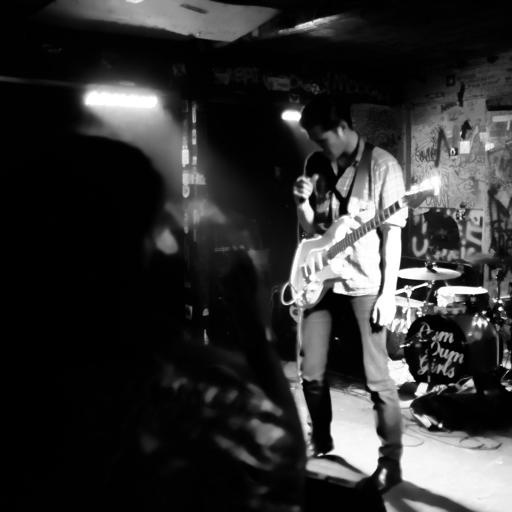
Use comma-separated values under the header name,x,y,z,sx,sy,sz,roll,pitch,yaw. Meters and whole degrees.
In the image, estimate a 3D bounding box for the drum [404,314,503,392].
name,x,y,z,sx,sy,sz,roll,pitch,yaw
drum,1.399,0.575,3.611,0.502,0.573,0.518,2,0,39

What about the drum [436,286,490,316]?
name,x,y,z,sx,sy,sz,roll,pitch,yaw
drum,1.498,0.325,3.682,0.350,0.149,0.279,2,4,26

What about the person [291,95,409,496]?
name,x,y,z,sx,sy,sz,roll,pitch,yaw
person,0.424,0.172,2.380,0.544,1.821,0.395,1,3,20
